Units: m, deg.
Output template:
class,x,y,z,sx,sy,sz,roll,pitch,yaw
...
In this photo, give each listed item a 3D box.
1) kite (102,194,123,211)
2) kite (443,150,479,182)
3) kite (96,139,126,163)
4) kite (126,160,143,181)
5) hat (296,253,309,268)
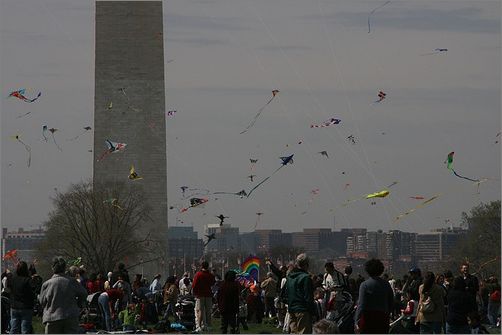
class,x,y,z,sx,sy,sz,roll,pitch,yaw
kite,-12.164,3.178,119.498,0.970,0.633,1.442,25,-7,11
kite,7.820,-0.235,52.643,0.891,1.439,0.912,4,-2,0
kite,-12.570,-1.423,122.832,2.093,0.888,1.931,-31,13,-4
kite,-10.495,0.641,122.746,1.359,1.234,1.341,9,1,-2
hat,2.949,5.223,75.155,0.644,0.693,0.734,2,-23,3
